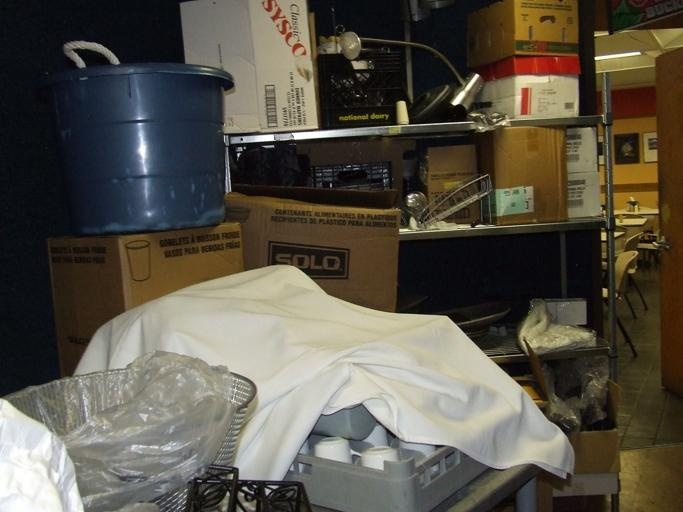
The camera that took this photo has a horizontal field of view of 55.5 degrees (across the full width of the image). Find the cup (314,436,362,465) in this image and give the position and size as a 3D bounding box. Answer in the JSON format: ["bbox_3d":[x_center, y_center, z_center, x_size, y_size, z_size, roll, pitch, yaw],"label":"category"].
[{"bbox_3d":[-0.016,0.424,1.454,0.076,0.061,0.046,-3,1,-42],"label":"cup"}]

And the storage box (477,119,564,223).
[{"bbox_3d":[0.875,-0.389,3.177,0.353,0.444,0.400,-3,-2,7],"label":"storage box"}]

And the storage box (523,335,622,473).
[{"bbox_3d":[0.981,0.645,2.796,0.457,0.625,0.257,-7,8,-25],"label":"storage box"}]

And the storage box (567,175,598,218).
[{"bbox_3d":[1.177,-0.282,3.173,0.169,0.209,0.185,2,2,29],"label":"storage box"}]

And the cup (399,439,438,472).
[{"bbox_3d":[0.179,0.437,1.477,0.081,0.097,0.053,5,12,6],"label":"cup"}]

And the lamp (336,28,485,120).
[{"bbox_3d":[0.350,-0.862,3.110,0.704,0.469,0.646,-4,8,-2],"label":"lamp"}]

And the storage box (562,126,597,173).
[{"bbox_3d":[1.160,-0.504,3.172,0.174,0.316,0.194,0,0,10],"label":"storage box"}]

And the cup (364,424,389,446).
[{"bbox_3d":[0.088,0.435,1.558,0.044,0.052,0.049,3,-2,-7],"label":"cup"}]

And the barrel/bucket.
[{"bbox_3d":[-0.659,-0.331,2.216,0.534,0.592,0.537,-3,-2,0],"label":"barrel/bucket"}]

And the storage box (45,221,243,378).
[{"bbox_3d":[-0.687,0.028,2.346,0.484,0.598,0.540,3,8,34],"label":"storage box"}]
